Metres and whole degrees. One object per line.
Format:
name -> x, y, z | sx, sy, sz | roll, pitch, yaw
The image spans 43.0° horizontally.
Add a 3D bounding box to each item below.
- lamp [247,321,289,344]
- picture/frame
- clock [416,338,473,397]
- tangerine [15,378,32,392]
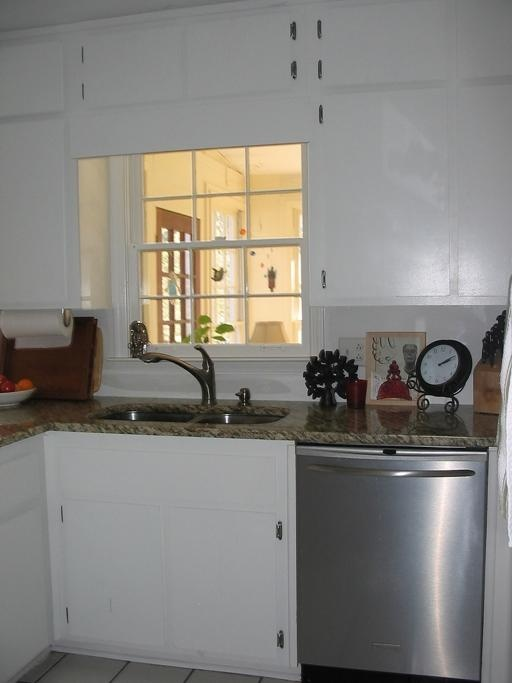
lamp -> 0.113, -0.094, 5.823 | 0.323, 0.193, 0.664 | 0, 0, 0
picture/frame -> 0.558, 0.115, 2.576 | 0.306, 0.398, 0.016 | -1, -14, 10
clock -> 0.688, 0.098, 2.404 | 0.078, 0.161, 0.195 | 0, 0, -44
tangerine -> -0.975, 0.187, 2.730 | 0.052, 0.051, 0.051 | 17, -16, -4
